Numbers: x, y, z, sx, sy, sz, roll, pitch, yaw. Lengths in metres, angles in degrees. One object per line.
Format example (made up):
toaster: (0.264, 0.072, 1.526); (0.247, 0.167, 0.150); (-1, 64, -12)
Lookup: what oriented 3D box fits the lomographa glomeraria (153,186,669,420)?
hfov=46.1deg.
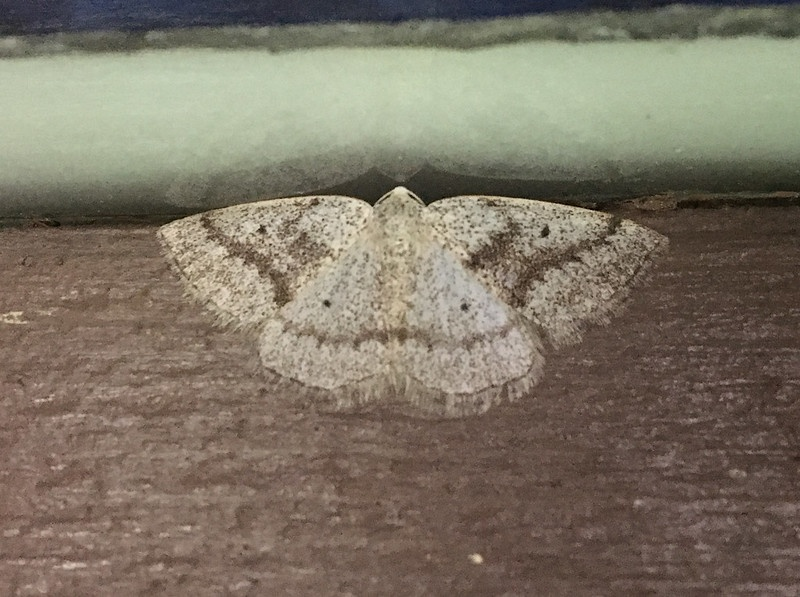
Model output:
lomographa glomeraria: (0.074, -0.012, 6.593); (2.756, 1.522, 0.204); (4, -3, 3)
